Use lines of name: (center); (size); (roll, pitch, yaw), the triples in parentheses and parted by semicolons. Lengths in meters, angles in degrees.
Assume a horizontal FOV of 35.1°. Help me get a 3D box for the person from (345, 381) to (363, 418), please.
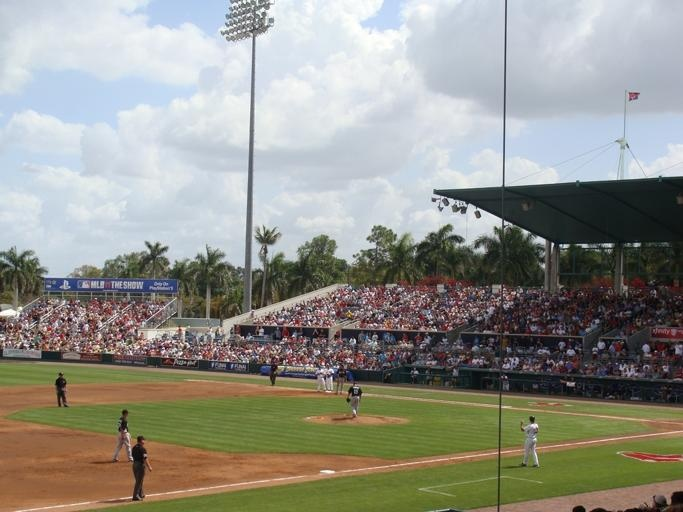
person: (0.749, 9.249, 68.417); (1.342, 1.171, 3.279); (2, 38, 4)
